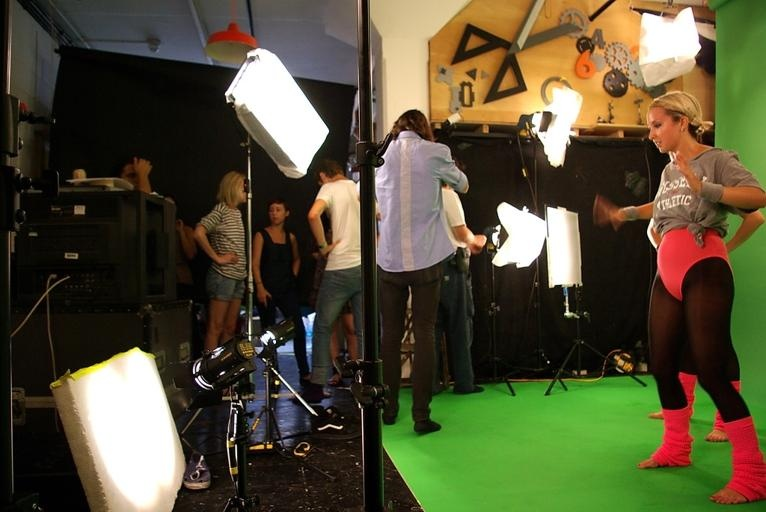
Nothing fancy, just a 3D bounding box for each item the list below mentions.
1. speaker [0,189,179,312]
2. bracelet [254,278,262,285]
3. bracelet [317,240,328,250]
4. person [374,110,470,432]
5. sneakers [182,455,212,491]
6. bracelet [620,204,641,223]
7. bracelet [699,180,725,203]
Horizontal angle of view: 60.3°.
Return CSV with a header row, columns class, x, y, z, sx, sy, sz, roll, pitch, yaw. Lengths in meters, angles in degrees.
class,x,y,z,sx,sy,sz,roll,pitch,yaw
speaker,-2.175,-0.053,5.234,0.972,0.810,0.938,0,-1,1
bracelet,-1.266,0.250,6.694,0.063,0.071,0.076,1,8,2
bracelet,-0.552,-0.106,6.031,0.087,0.048,0.080,-4,2,6
person,0.310,0.091,5.306,0.703,2.548,0.674,-1,7,-1
sneakers,-1.269,1.470,4.530,0.175,0.152,0.380,5,2,-12
bracelet,1.878,-0.344,4.989,0.133,0.144,0.110,12,-25,15
bracelet,2.119,-0.421,4.251,0.113,0.082,0.141,16,-43,18
